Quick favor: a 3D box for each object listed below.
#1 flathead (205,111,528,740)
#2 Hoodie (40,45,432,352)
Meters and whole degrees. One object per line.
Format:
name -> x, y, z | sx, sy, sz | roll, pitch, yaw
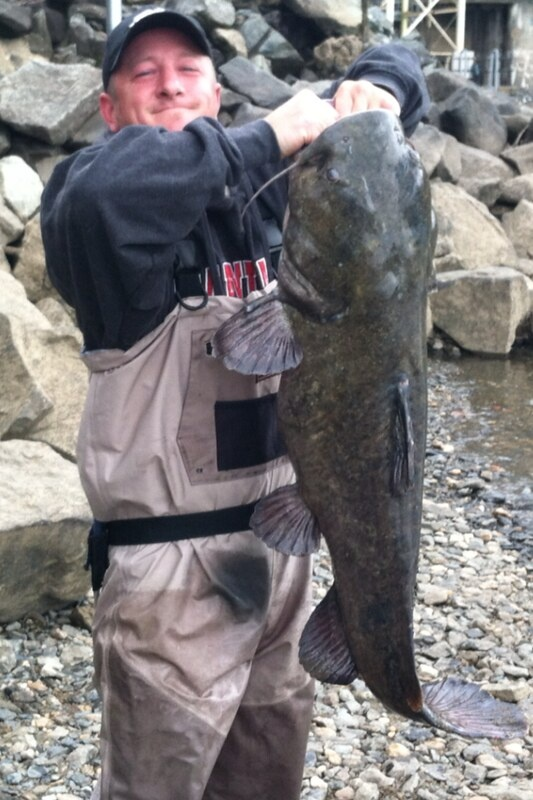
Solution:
flathead -> 0.275, -0.021, 5.585 | 0.914, 2.216, 0.534 | 2, 2, -31
Hoodie -> -0.158, -0.725, 5.882 | 1.191, 0.880, 0.370 | -25, 35, -18
